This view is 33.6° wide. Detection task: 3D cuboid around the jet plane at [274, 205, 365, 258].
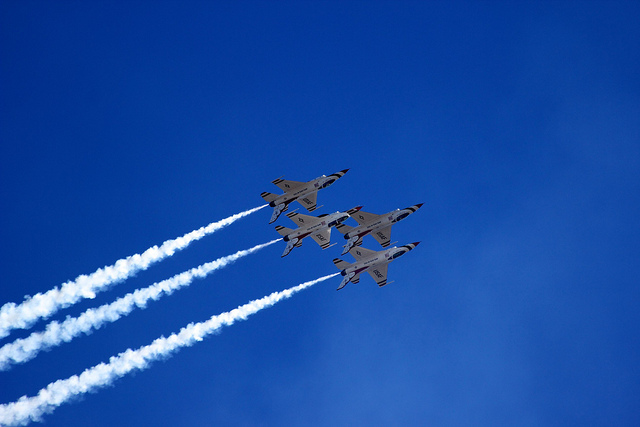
[{"bbox_3d":[-0.507,0.671,53.540,4.171,1.775,1.050,-11,-9,3],"label":"jet plane"}]
